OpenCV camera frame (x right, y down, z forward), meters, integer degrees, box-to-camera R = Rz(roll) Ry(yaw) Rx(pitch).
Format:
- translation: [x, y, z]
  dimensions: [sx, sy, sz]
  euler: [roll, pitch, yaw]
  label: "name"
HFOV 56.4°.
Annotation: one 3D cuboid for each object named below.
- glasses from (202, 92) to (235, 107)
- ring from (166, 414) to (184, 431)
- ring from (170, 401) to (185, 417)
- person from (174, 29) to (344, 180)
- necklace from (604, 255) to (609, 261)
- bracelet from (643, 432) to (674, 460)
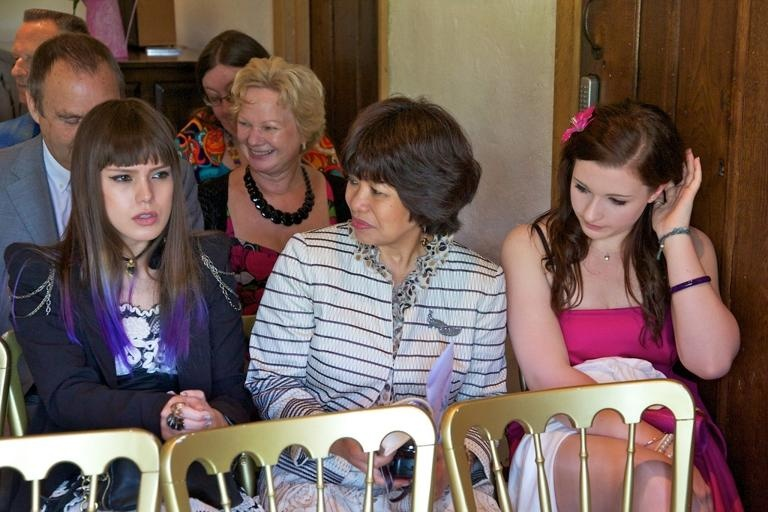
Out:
- translation: [-0.882, -0.831, 3.854]
  dimensions: [0.171, 0.056, 0.163]
  euler: [-4, 7, -39]
  label: "glasses"
- translation: [-0.620, 0.498, 2.139]
  dimensions: [0.044, 0.049, 0.015]
  euler: [7, 0, 2]
  label: "ring"
- translation: [-0.615, 0.459, 2.140]
  dimensions: [0.033, 0.036, 0.012]
  euler: [4, 3, -40]
  label: "ring"
- translation: [-0.783, -0.829, 3.980]
  dimensions: [0.941, 0.743, 0.507]
  euler: [1, 37, 11]
  label: "person"
- translation: [0.815, 0.010, 2.626]
  dimensions: [0.019, 0.022, 0.005]
  euler: [-1, 0, 10]
  label: "necklace"
- translation: [0.870, 0.606, 2.273]
  dimensions: [0.084, 0.032, 0.089]
  euler: [-13, 39, 4]
  label: "bracelet"
